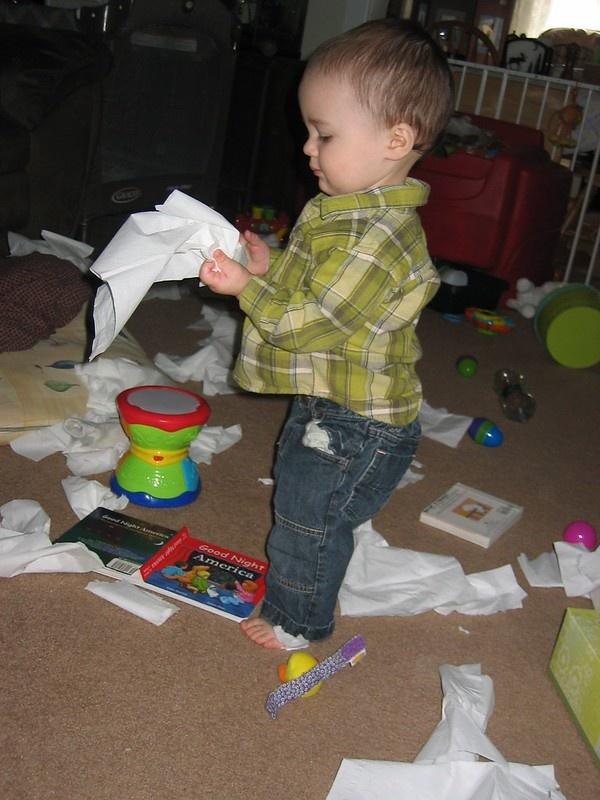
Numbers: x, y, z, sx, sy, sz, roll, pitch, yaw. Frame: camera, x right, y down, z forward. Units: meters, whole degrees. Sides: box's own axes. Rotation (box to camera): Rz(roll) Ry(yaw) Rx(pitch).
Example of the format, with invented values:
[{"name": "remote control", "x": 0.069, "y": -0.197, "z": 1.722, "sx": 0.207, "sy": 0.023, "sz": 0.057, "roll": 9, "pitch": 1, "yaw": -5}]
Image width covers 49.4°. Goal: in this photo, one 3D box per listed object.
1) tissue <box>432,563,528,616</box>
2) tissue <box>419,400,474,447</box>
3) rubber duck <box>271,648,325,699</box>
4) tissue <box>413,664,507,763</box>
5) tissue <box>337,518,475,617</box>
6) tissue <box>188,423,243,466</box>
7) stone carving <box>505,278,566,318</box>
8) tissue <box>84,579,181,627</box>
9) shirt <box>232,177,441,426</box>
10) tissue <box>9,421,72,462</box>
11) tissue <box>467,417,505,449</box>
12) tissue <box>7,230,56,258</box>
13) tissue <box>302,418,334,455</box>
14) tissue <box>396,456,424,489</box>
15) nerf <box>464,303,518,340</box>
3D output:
[{"name": "tissue", "x": 0.304, "y": 0.314, "z": 1.073, "sx": 0.115, "sy": 0.028, "sz": 0.072, "roll": -15, "pitch": 44, "yaw": -12}, {"name": "tissue", "x": 0.379, "y": 0.065, "z": 1.685, "sx": 0.123, "sy": 0.016, "sz": 0.146, "roll": -3, "pitch": 22, "yaw": -27}, {"name": "rubber duck", "x": 0.000, "y": 0.353, "z": 0.844, "sx": 0.050, "sy": 0.047, "sz": 0.044, "roll": 5, "pitch": 35, "yaw": -11}, {"name": "tissue", "x": 0.197, "y": 0.389, "z": 0.808, "sx": 0.100, "sy": 0.057, "sz": 0.132, "roll": 2, "pitch": 9, "yaw": 10}, {"name": "tissue", "x": 0.172, "y": 0.279, "z": 1.049, "sx": 0.177, "sy": 0.048, "sz": 0.127, "roll": 3, "pitch": 40, "yaw": -2}, {"name": "tissue", "x": -0.185, "y": 0.094, "z": 1.438, "sx": 0.087, "sy": 0.029, "sz": 0.081, "roll": -27, "pitch": 11, "yaw": -17}, {"name": "stone carving", "x": 0.980, "y": -0.443, "z": 2.722, "sx": 0.200, "sy": 0.075, "sz": 0.191, "roll": -36, "pitch": 60, "yaw": 0}, {"name": "tissue", "x": -0.233, "y": 0.285, "z": 0.947, "sx": 0.114, "sy": 0.015, "sz": 0.056, "roll": 17, "pitch": 25, "yaw": 26}, {"name": "shirt", "x": 0.067, "y": -0.133, "z": 0.852, "sx": 0.269, "sy": 0.319, "sz": 0.212, "roll": 12, "pitch": 20, "yaw": 0}, {"name": "tissue", "x": -0.515, "y": 0.080, "z": 1.295, "sx": 0.102, "sy": 0.023, "sz": 0.059, "roll": -19, "pitch": 62, "yaw": -34}, {"name": "tissue", "x": 0.468, "y": 0.084, "z": 1.636, "sx": 0.090, "sy": 0.060, "sz": 0.051, "roll": 16, "pitch": 20, "yaw": 12}, {"name": "tissue", "x": -0.748, "y": -0.429, "z": 1.815, "sx": 0.116, "sy": 0.055, "sz": 0.236, "roll": 2, "pitch": 20, "yaw": -25}, {"name": "tissue", "x": 0.023, "y": 0.048, "z": 0.859, "sx": 0.036, "sy": 0.042, "sz": 0.018, "roll": -5, "pitch": 5, "yaw": 30}, {"name": "tissue", "x": 0.251, "y": 0.166, "z": 1.452, "sx": 0.055, "sy": 0.007, "sz": 0.161, "roll": 7, "pitch": 14, "yaw": 20}, {"name": "nerf", "x": 0.719, "y": -0.310, "z": 2.553, "sx": 0.219, "sy": 0.076, "sz": 0.178, "roll": 20, "pitch": 21, "yaw": 27}]
